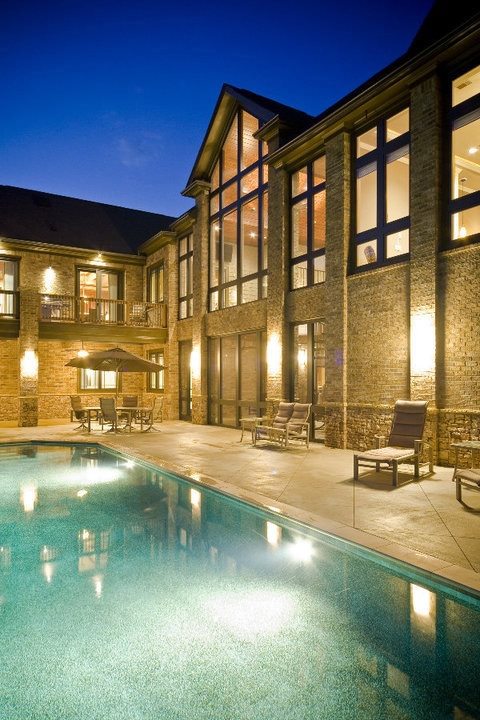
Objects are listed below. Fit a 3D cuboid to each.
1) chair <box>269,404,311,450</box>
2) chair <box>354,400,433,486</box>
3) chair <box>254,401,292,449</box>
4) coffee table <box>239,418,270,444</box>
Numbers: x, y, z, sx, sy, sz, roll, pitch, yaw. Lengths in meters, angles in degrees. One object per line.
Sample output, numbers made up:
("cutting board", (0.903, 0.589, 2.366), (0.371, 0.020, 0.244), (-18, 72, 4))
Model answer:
("chair", (0.924, 1.374, 11.937), (0.653, 0.955, 1.332), (8, -6, -24))
("chair", (2.362, 1.181, 8.474), (1.311, 1.227, 0.731), (0, 0, -43))
("chair", (0.771, 1.434, 12.045), (0.816, 1.008, 1.005), (0, -3, -37))
("coffee table", (0.316, 1.637, 13.723), (0.629, 0.733, 0.708), (0, 0, -37))
